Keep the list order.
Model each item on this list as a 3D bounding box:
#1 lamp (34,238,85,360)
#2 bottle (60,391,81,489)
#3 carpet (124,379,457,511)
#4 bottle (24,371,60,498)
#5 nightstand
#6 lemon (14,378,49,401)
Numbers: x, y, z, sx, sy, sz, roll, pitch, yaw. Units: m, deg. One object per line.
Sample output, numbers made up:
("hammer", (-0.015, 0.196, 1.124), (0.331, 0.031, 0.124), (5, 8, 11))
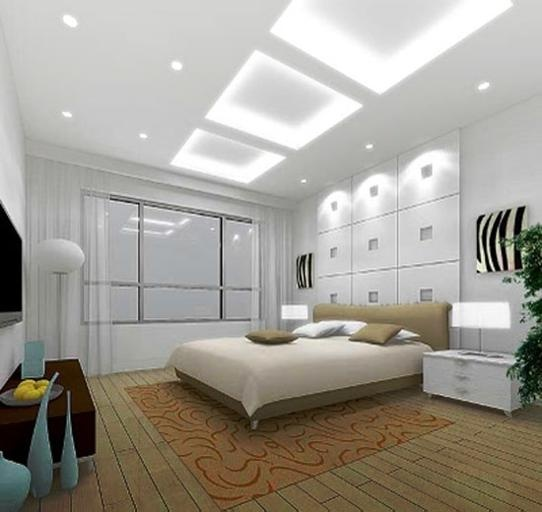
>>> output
("lamp", (-2.555, 0.507, 4.341), (0.482, 1.446, 0.706), (1, -4, -26))
("bottle", (-1.173, 1.058, 2.098), (0.095, 0.497, 0.306), (2, -4, -28))
("carpet", (0.098, 1.414, 3.368), (2.242, 0.036, 2.220), (3, -6, -33))
("bottle", (-1.274, 1.010, 1.979), (0.113, 0.557, 0.184), (2, -5, -34))
("nightstand", (2.083, 1.064, 3.548), (0.554, 0.434, 0.724), (5, -8, -30))
("lemon", (-1.554, 0.844, 2.324), (0.167, 0.077, 0.207), (3, -3, 9))
